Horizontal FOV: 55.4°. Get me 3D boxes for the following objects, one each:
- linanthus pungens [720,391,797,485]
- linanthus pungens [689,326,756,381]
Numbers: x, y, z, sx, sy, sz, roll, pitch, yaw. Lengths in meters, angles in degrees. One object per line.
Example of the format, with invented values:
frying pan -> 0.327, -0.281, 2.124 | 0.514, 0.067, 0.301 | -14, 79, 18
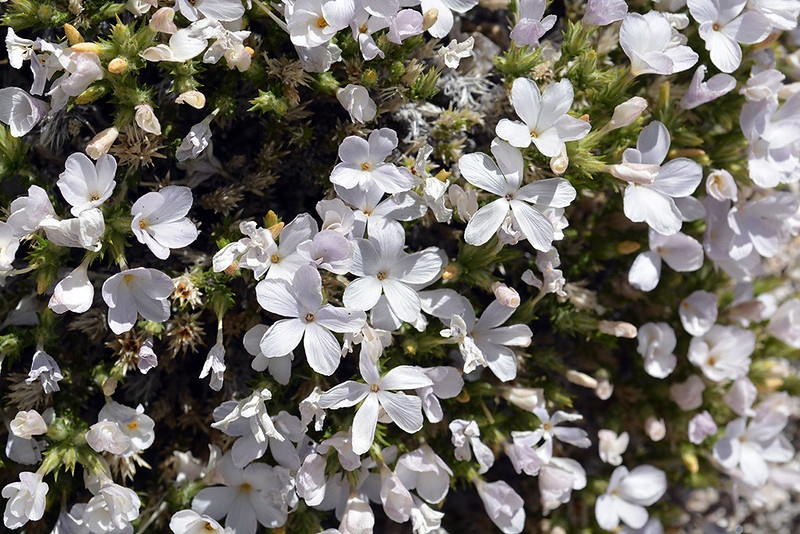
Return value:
linanthus pungens -> 2.500, 1.289, 5.591 | 0.531, 0.281, 0.556 | 41, 82, -3
linanthus pungens -> 2.293, 0.607, 5.379 | 0.359, 0.212, 0.450 | 5, 91, 20
